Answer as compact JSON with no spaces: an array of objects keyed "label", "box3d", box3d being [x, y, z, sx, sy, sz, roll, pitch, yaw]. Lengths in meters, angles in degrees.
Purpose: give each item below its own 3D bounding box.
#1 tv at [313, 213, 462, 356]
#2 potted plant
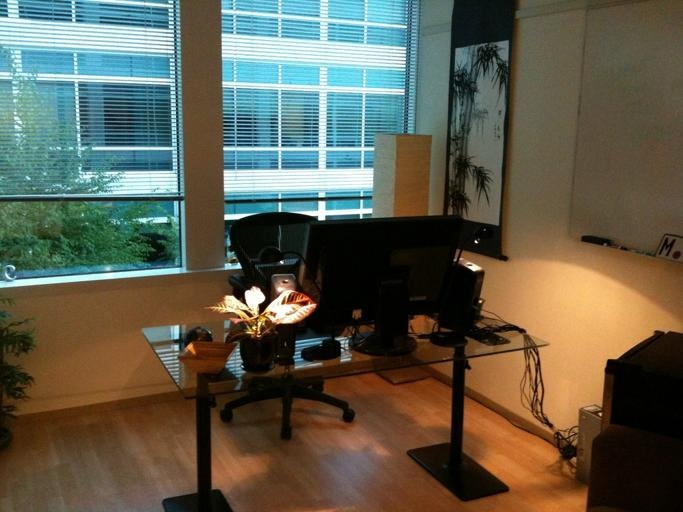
[{"label":"tv","box3d":[0.214,0.143,2.744,0.706,0.567,0.341,0,13,-10]},{"label":"potted plant","box3d":[-0.360,0.303,2.583,0.453,0.291,0.397,-5,11,-43]}]
